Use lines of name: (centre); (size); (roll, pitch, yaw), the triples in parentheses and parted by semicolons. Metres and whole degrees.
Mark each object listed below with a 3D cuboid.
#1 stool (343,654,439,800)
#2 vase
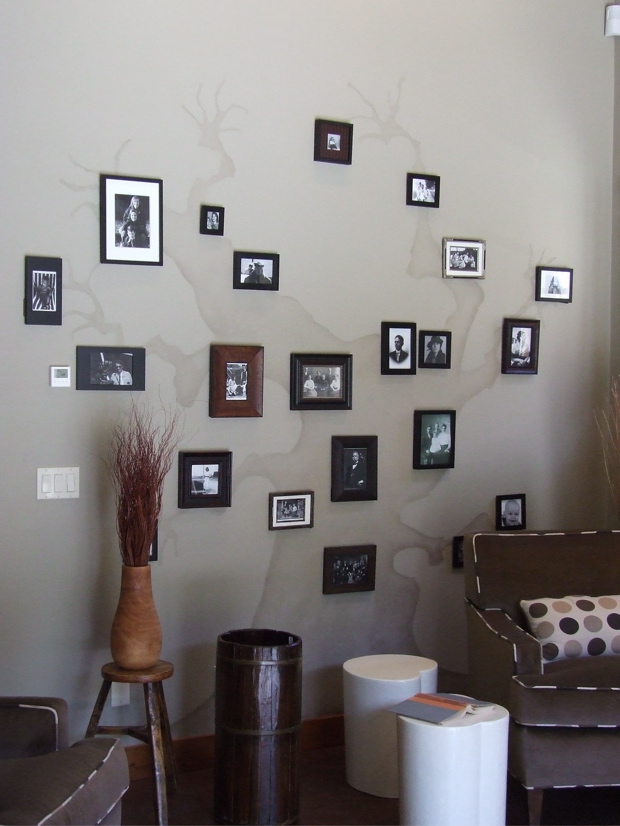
stool: (0.281, 1.058, 2.757); (0.339, 0.427, 0.352); (-1, 6, -1)
vase: (-0.542, 0.628, 2.420); (0.145, 0.313, 0.117); (-1, 4, -19)
